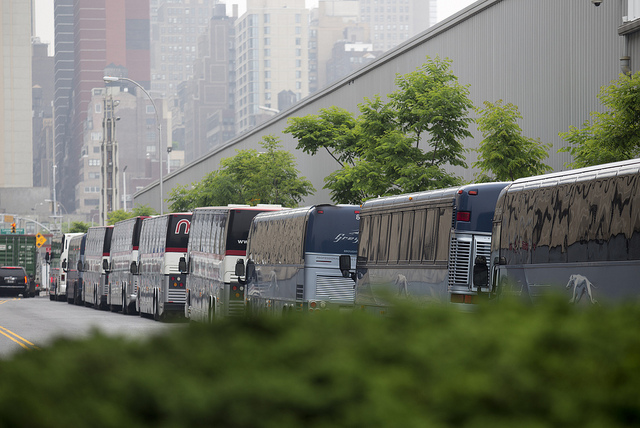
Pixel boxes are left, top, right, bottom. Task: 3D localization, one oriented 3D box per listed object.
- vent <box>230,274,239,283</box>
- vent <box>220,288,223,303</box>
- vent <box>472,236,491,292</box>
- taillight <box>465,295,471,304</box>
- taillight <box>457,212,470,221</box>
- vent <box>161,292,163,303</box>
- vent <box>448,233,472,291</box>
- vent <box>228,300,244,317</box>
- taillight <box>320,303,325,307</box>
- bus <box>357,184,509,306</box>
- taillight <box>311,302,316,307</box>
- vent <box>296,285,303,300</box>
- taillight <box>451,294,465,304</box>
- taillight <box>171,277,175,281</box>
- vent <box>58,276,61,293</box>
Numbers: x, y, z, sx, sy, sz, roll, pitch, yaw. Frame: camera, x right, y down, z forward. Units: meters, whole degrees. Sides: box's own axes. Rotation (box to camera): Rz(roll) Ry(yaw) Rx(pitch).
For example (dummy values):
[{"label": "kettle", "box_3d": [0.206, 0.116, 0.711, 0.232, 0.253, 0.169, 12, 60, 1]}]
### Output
[{"label": "vent", "box_3d": [-2.689, 2.076, 29.781, 0.343, 0.363, 0.197, -1, 7, -4]}, {"label": "vent", "box_3d": [-3.086, 2.592, 29.742, 0.059, 0.442, 0.260, -3, 6, -21]}, {"label": "vent", "box_3d": [3.262, 1.034, 19.153, 0.360, 1.040, 0.849, 0, 6, 9]}, {"label": "taillight", "box_3d": [2.966, 1.737, 19.030, 0.146, 0.219, 0.113, 3, 1, 5]}, {"label": "taillight", "box_3d": [2.949, 0.076, 19.497, 0.253, 0.183, 0.037, -1, 6, -6]}, {"label": "vent", "box_3d": [-5.803, 3.101, 34.921, 0.025, 0.399, 0.181, -3, 6, -25]}, {"label": "vent", "box_3d": [2.866, 0.998, 19.345, 0.448, 1.096, 0.536, 0, 6, 10]}, {"label": "vent", "box_3d": [-2.632, 2.933, 29.611, 0.469, 0.398, 0.537, -2, 6, -8]}, {"label": "taillight", "box_3d": [0.063, 2.416, 24.925, 0.139, 0.083, 0.052, -4, 6, -24]}, {"label": "bus", "box_3d": [2.374, 0.857, 21.537, 2.015, 3.218, 5.786, -3, 6, -17]}, {"label": "taillight", "box_3d": [-0.159, 2.382, 24.793, 0.167, 0.100, 0.097, -6, 8, -41]}, {"label": "vent", "box_3d": [-0.542, 2.128, 25.332, 0.030, 0.352, 0.391, 3, -7, -14]}, {"label": "taillight", "box_3d": [2.779, 1.730, 19.180, 0.260, 0.192, 0.147, 1, -8, 8]}, {"label": "taillight", "box_3d": [-5.378, 2.404, 34.722, 0.124, 0.129, 0.030, -4, 4, -13]}, {"label": "vent", "box_3d": [-16.450, 4.530, 59.992, 0.099, 1.087, 0.486, -4, 7, -30]}]
